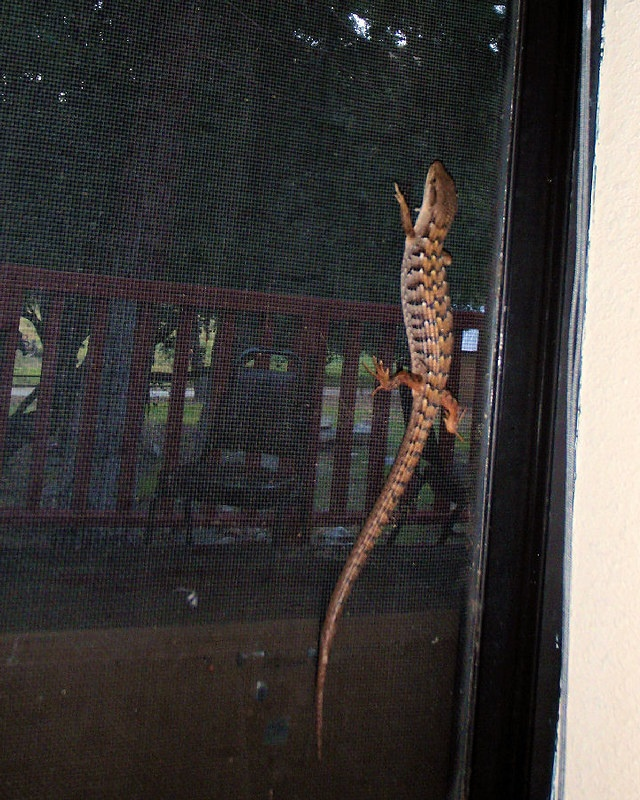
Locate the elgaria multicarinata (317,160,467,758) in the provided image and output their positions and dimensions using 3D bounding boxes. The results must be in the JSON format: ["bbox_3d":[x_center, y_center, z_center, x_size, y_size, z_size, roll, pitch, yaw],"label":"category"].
[{"bbox_3d":[0.118,0.126,1.609,0.257,1.124,0.094,14,-2,-23],"label":"elgaria multicarinata"}]
